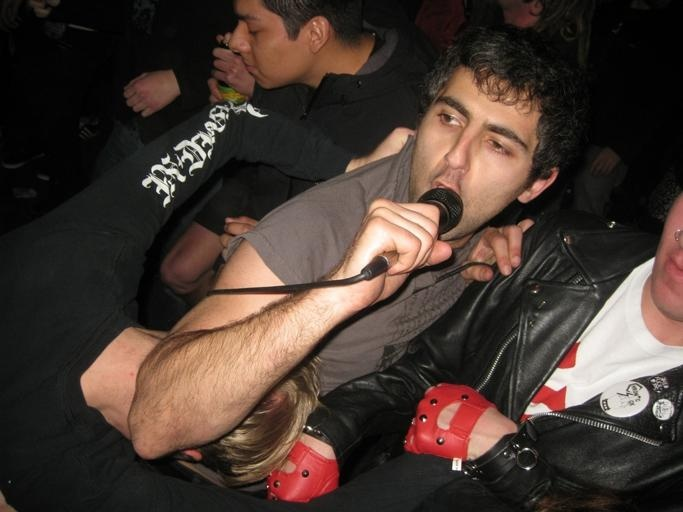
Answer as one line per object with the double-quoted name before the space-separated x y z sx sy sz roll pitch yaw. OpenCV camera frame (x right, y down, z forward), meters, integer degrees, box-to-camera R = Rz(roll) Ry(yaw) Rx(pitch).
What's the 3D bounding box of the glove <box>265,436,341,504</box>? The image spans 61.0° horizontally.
"glove" -0.177 1.019 2.802 0.338 0.236 0.207 1 5 -31
